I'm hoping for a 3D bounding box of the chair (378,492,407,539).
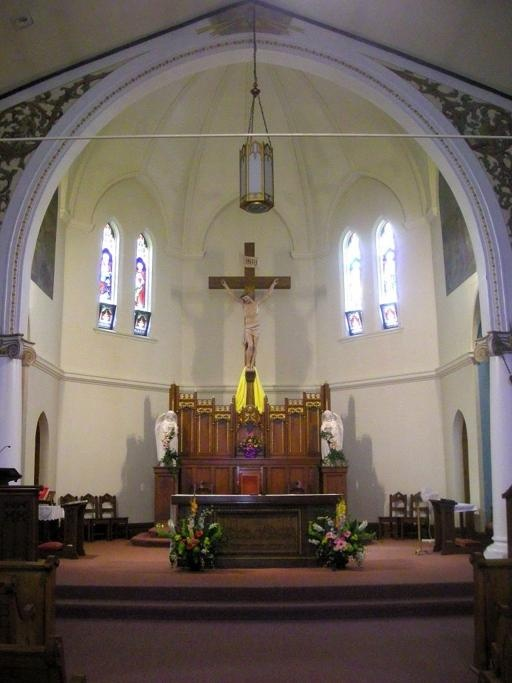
[{"bbox_3d":[2.668,3.341,12.047,0.426,0.929,0.479,-9,-22,35],"label":"chair"}]

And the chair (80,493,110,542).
[{"bbox_3d":[-3.181,3.381,12.018,0.429,0.875,0.479,-12,-13,30],"label":"chair"}]

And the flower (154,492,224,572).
[{"bbox_3d":[-0.836,2.420,7.915,0.737,1.030,0.848,1,-16,-8],"label":"flower"}]

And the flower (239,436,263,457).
[{"bbox_3d":[-0.111,2.085,12.419,0.550,0.585,0.300,1,-9,-3],"label":"flower"}]

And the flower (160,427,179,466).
[{"bbox_3d":[-1.691,2.050,12.032,0.307,0.694,0.529,-1,-1,-8],"label":"flower"}]

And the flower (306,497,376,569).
[{"bbox_3d":[1.082,2.426,7.954,0.728,0.927,0.872,0,-14,7],"label":"flower"}]

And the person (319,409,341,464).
[{"bbox_3d":[1.481,1.871,12.363,0.407,1.086,0.344,2,12,5],"label":"person"}]

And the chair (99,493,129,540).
[{"bbox_3d":[-2.835,3.422,12.242,0.442,0.911,0.428,-20,-22,41],"label":"chair"}]

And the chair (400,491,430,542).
[{"bbox_3d":[3.075,3.390,12.111,0.653,0.976,0.627,7,-14,-39],"label":"chair"}]
